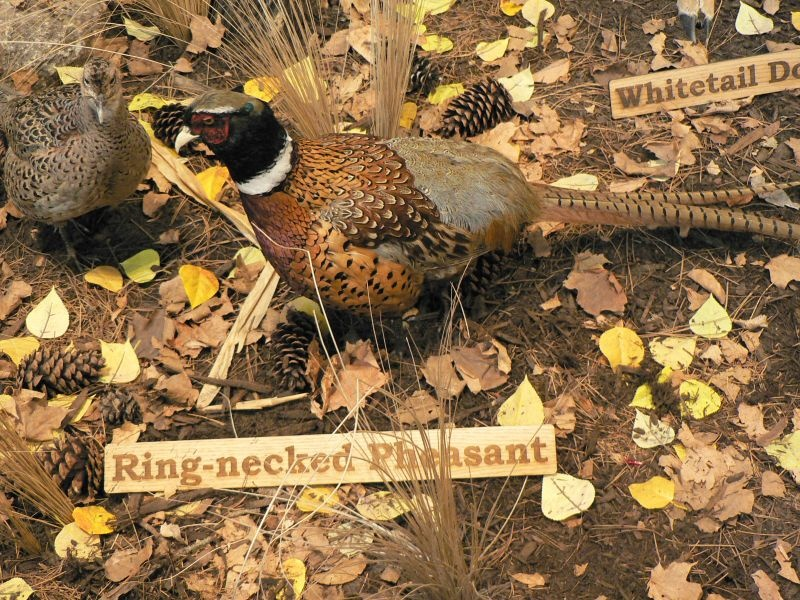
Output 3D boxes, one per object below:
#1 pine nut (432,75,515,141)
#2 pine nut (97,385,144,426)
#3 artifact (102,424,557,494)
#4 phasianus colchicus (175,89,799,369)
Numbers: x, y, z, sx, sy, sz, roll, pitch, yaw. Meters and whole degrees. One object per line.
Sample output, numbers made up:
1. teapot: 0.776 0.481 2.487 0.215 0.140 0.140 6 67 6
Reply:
1. pine nut: 0.441 -1.074 4.474 0.514 0.252 0.293 -27 42 2
2. pine nut: -1.392 0.528 3.975 0.188 0.159 0.222 -4 24 33
3. artifact: -0.450 0.766 3.851 3.098 0.336 0.102 -1 10 2
4. phasianus colchicus: -0.586 -0.544 3.982 4.472 1.604 0.959 -2 66 -2
